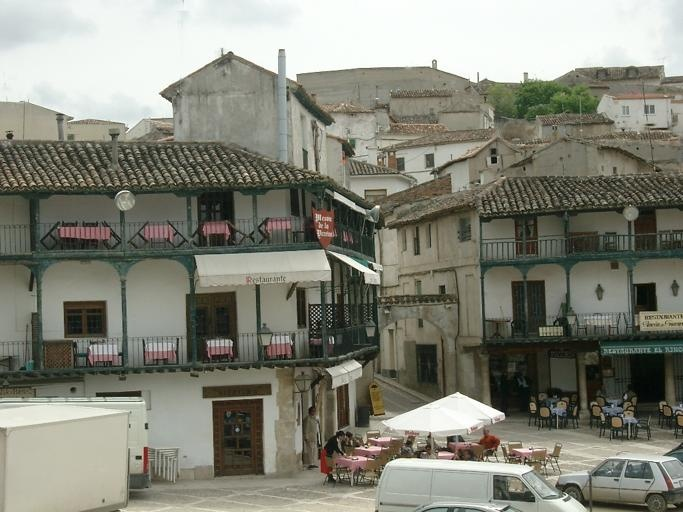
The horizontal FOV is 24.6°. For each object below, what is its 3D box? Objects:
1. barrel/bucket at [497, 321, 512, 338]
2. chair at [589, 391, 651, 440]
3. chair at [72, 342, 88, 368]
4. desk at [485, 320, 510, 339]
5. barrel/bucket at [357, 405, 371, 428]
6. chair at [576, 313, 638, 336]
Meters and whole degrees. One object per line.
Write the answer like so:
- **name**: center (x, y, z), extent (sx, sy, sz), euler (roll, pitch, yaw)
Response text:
- **barrel/bucket**: center (8.602, 4.068, 83.270), extent (0.777, 0.810, 0.810), euler (-1, 9, 0)
- **chair**: center (13.809, 8.325, 77.841), extent (1.947, 1.330, 2.342), euler (-2, 5, -32)
- **chair**: center (-11.855, 4.587, 71.427), extent (0.678, 1.240, 0.599), euler (-1, -8, -8)
- **desk**: center (8.324, 3.993, 83.261), extent (1.448, 1.163, 0.860), euler (1, -7, 0)
- **barrel/bucket**: center (1.251, 8.613, 82.248), extent (0.588, 1.156, 1.268), euler (-7, -9, 28)
- **chair**: center (13.809, 3.799, 83.613), extent (3.199, 1.164, 1.138), euler (0, -1, -1)
